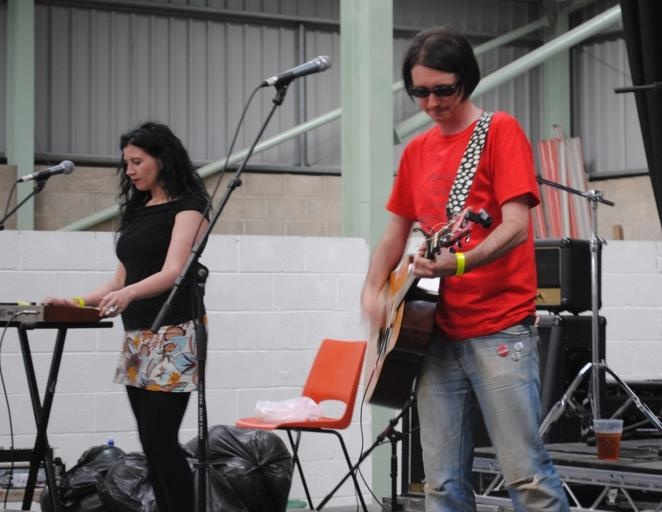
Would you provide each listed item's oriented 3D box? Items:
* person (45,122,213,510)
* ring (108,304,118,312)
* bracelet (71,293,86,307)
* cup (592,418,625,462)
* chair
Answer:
[{"bbox_3d":[-0.845,0.278,5.710,0.500,1.854,0.493,0,0,-6],"label":"person"},{"bbox_3d":[-1.003,0.244,5.484,0.028,0.010,0.041,-19,14,-28],"label":"ring"},{"bbox_3d":[-1.215,0.223,5.742,0.063,0.062,0.062,-5,12,-25],"label":"bracelet"},{"bbox_3d":[1.455,0.960,6.252,0.144,0.203,0.200,0,-1,23],"label":"cup"},{"bbox_3d":[-0.084,0.980,6.706,0.667,1.003,0.872,0,-1,20],"label":"chair"}]
